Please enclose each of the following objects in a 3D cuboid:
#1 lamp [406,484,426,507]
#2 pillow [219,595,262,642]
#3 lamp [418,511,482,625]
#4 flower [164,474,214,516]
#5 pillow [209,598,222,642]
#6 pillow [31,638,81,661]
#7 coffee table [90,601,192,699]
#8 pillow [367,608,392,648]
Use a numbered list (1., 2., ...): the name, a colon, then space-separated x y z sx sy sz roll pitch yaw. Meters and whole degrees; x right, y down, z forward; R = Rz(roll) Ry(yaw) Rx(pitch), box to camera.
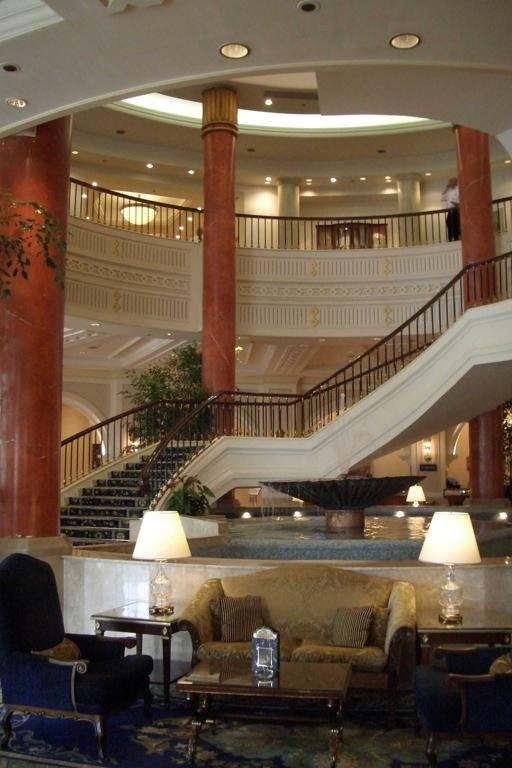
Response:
1. lamp: 2.610 1.823 11.238 0.236 0.396 0.681 -1 -1 17
2. pillow: -0.103 1.391 4.079 0.234 0.225 0.091 4 -33 -9
3. lamp: 1.089 1.034 3.898 0.310 0.682 0.620 -1 -1 14
4. flower: -0.865 1.471 8.812 0.564 0.409 1.054 0 -1 -5
5. pillow: -0.243 1.409 4.090 0.113 0.184 0.046 3 -9 -23
6. pillow: -1.035 1.410 3.641 0.185 0.081 0.134 8 -6 -10
7. coffee table: -0.722 1.507 4.204 0.627 0.576 0.574 -6 -13 25
8. pillow: 0.698 1.394 3.929 0.111 0.189 0.148 -1 -1 24
